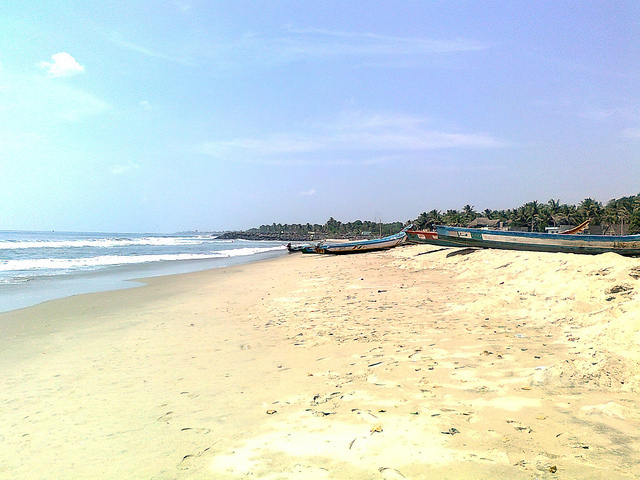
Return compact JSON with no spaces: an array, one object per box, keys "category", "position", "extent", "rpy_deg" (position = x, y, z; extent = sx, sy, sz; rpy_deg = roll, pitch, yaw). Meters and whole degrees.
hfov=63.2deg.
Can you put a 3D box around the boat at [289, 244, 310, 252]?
[{"category":"boat","position":[-2.638,0.951,62.847],"extent":[1.352,0.908,5.908],"rpy_deg":[-7,-1,8]}]

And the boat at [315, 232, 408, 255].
[{"category":"boat","position":[3.647,0.302,43.715],"extent":[7.962,1.351,2.479],"rpy_deg":[-3,1,24]}]
